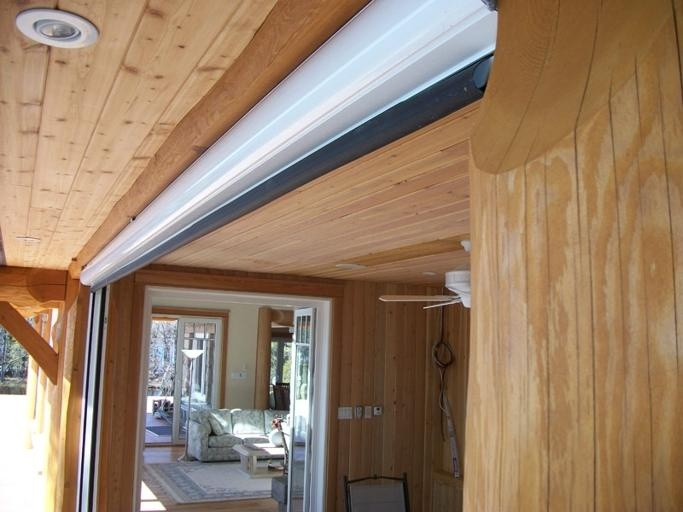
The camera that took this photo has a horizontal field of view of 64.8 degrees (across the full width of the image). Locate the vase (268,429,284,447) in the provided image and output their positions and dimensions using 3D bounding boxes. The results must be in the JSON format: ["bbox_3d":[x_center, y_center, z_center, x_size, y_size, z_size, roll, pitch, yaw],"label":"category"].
[{"bbox_3d":[-0.942,2.652,7.892,0.245,0.208,0.281,2,-12,5],"label":"vase"}]

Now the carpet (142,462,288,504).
[{"bbox_3d":[-1.723,2.860,6.905,1.435,0.208,2.005,4,-13,-25],"label":"carpet"}]
